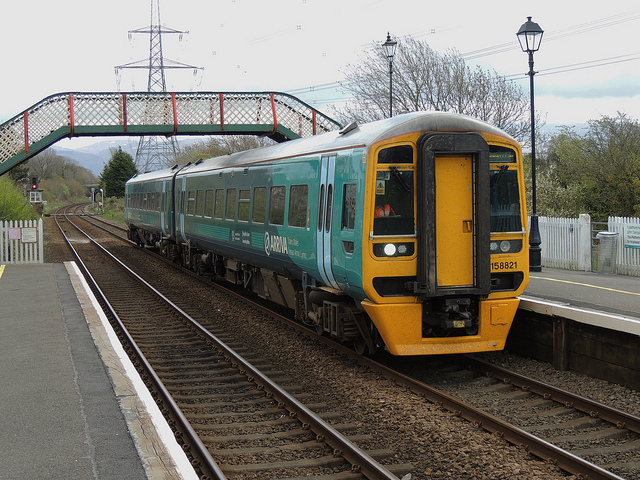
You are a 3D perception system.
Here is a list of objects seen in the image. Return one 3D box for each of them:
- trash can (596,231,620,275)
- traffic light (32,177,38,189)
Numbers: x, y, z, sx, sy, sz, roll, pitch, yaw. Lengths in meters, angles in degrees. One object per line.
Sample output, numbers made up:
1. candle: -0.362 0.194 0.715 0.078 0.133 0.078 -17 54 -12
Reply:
1. trash can: 9.221 0.418 16.257 0.572 1.333 0.501 3 6 36
2. traffic light: -24.709 -4.892 43.829 0.346 0.816 1.433 -3 6 -34
